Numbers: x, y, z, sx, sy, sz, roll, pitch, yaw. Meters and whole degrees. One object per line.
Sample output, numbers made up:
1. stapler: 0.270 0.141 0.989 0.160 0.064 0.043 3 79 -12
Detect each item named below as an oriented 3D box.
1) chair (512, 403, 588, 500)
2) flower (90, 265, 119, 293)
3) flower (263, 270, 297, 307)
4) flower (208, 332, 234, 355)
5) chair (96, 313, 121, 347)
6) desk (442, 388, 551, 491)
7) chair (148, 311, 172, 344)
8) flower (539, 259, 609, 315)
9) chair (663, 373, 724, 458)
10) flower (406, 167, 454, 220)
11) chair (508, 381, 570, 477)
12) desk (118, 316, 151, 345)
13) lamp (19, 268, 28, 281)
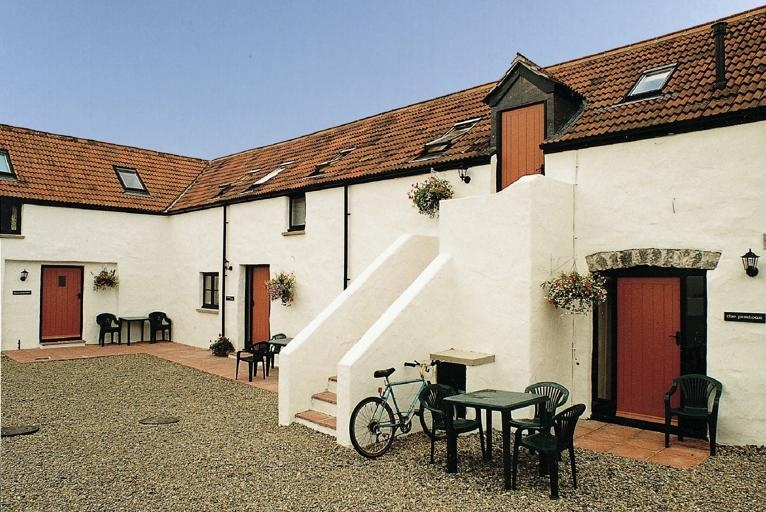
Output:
1. chair: 3.132 3.643 13.145 1.276 1.750 0.604 -1 -4 15
2. flower: -9.373 0.789 23.506 0.821 0.570 0.800 6 -12 -41
3. flower: -2.970 0.910 20.323 0.907 1.120 0.993 -2 2 -44
4. flower: -5.068 2.783 21.802 0.670 0.504 0.687 -6 -9 34
5. chair: -9.259 2.484 23.525 0.712 1.075 0.808 3 -5 -40
6. desk: 2.081 3.611 13.625 1.798 1.715 1.765 3 -4 -37
7. chair: -7.858 2.488 24.281 0.752 1.064 0.870 -4 -5 44
8. flower: 4.166 0.673 15.076 1.088 0.787 1.067 -2 7 14
9. chair: 6.464 3.262 14.484 1.109 1.586 1.008 -2 -4 25
10. flower: 1.124 -1.552 17.316 1.065 1.188 0.627 -3 -5 37
11. chair: 3.095 3.115 13.743 1.257 1.632 1.137 6 -8 -22
12. desk: -8.543 2.568 23.945 0.963 0.979 0.945 3 -5 -38
13. lamp: -11.457 0.610 22.176 0.097 0.385 0.242 -3 -5 40
